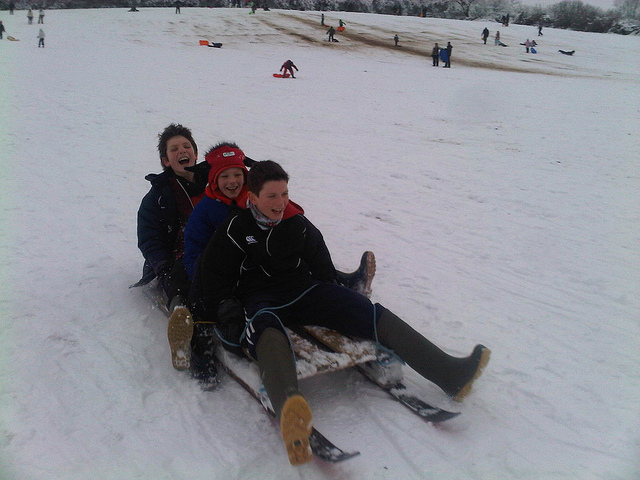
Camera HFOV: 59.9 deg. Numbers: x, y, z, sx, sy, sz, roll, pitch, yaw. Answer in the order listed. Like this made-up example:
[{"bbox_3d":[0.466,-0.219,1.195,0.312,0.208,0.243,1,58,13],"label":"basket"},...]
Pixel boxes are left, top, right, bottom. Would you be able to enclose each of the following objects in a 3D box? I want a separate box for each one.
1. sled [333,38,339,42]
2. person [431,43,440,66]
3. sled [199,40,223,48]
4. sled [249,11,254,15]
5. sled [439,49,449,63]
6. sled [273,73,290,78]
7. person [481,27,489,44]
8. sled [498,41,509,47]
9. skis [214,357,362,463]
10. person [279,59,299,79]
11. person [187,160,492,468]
[{"bbox_3d":[0.690,-9.016,24.947,0.363,0.127,0.478,-4,23,-15],"label":"sled"},{"bbox_3d":[4.279,-6.904,20.580,0.260,0.719,1.017,9,24,9],"label":"person"},{"bbox_3d":[-4.297,-7.727,21.881,0.771,0.169,0.418,-2,18,-35],"label":"sled"},{"bbox_3d":[-4.005,-13.301,32.366,0.370,0.222,0.177,2,14,1],"label":"sled"},{"bbox_3d":[4.517,-6.714,20.164,0.385,0.474,0.293,5,25,1],"label":"sled"},{"bbox_3d":[-1.157,-4.887,16.378,0.387,0.108,0.649,-9,26,-27],"label":"sled"},{"bbox_3d":[8.281,-10.278,27.872,0.267,0.688,1.108,10,24,12],"label":"person"},{"bbox_3d":[9.089,-9.759,27.552,0.529,0.220,0.897,8,23,9],"label":"sled"},{"bbox_3d":[-0.222,1.287,4.102,0.202,0.163,1.557,-8,1,-25],"label":"skis"},{"bbox_3d":[-0.925,-5.077,16.542,0.643,0.250,0.868,-7,1,-3],"label":"person"},{"bbox_3d":[-0.032,0.273,3.904,1.552,1.107,2.090,-7,24,-28],"label":"person"}]
